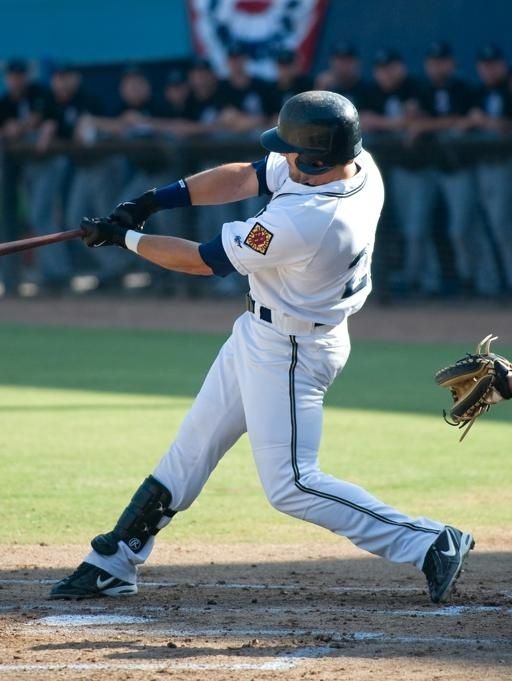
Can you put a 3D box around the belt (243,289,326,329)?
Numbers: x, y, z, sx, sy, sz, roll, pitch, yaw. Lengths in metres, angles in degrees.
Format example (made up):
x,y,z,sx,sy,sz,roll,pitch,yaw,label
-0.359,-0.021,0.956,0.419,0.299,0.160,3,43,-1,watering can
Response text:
x,y,z,sx,sy,sz,roll,pitch,yaw,label
0.079,-0.091,3.165,0.136,0.027,0.136,12,4,-40,belt

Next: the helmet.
x,y,z,sx,sy,sz,roll,pitch,yaw,label
0.167,-0.623,3.164,0.351,0.202,0.203,5,36,10,helmet

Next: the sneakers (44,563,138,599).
x,y,z,sx,sy,sz,roll,pitch,yaw,label
-0.499,0.744,3.321,0.288,0.103,0.090,3,-6,-11,sneakers

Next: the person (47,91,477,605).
x,y,z,sx,sy,sz,roll,pitch,yaw,label
0.062,0.028,3.296,1.245,1.537,0.545,3,7,8,person

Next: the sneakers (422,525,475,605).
x,y,z,sx,sy,sz,roll,pitch,yaw,label
0.548,0.659,3.119,0.127,0.241,0.140,4,7,17,sneakers
